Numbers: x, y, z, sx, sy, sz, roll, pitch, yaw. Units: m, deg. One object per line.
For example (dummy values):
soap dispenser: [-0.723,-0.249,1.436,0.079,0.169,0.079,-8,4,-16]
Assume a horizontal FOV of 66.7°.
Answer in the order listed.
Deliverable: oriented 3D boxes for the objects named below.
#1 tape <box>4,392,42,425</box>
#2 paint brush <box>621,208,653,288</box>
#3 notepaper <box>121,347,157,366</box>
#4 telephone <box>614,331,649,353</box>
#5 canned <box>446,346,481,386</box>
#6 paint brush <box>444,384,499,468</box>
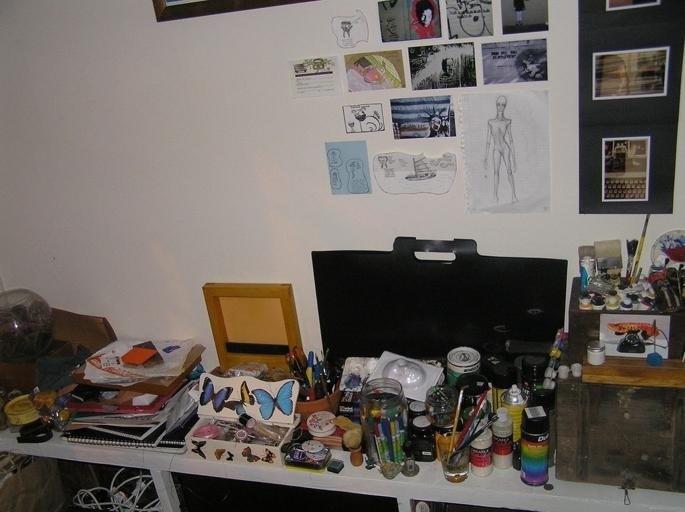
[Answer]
tape: [-0.953,0.458,1.544,0.093,0.038,0.095,-1,9,-4]
paint brush: [0.733,-0.027,1.293,0.025,0.195,0.028,20,-2,-24]
notepaper: [-0.621,0.303,1.596,0.055,0.015,0.057,9,26,19]
telephone: [0.655,0.195,1.175,0.057,0.057,0.036,8,16,22]
canned: [0.316,0.279,1.364,0.088,0.102,0.090,-6,27,-4]
paint brush: [0.318,0.383,1.245,0.071,0.036,0.240,31,54,14]
